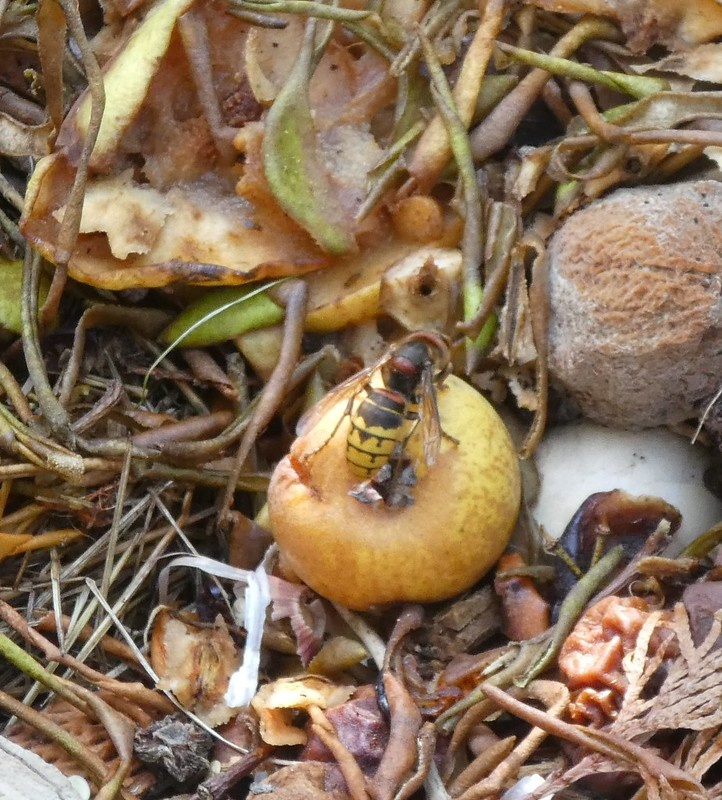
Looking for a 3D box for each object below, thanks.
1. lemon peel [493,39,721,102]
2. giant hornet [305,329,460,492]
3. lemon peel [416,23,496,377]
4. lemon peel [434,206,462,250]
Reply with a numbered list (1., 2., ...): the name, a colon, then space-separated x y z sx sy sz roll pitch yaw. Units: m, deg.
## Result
1. lemon peel: 0.324 -0.419 1.359 0.286 0.058 0.048 13 78 4
2. giant hornet: -0.050 0.007 1.323 0.206 0.178 0.318 0 17 3
3. lemon peel: 0.112 -0.284 1.381 0.074 0.063 0.513 6 72 -38
4. lemon peel: 0.125 -0.228 1.425 0.048 0.046 0.013 3 30 -2
